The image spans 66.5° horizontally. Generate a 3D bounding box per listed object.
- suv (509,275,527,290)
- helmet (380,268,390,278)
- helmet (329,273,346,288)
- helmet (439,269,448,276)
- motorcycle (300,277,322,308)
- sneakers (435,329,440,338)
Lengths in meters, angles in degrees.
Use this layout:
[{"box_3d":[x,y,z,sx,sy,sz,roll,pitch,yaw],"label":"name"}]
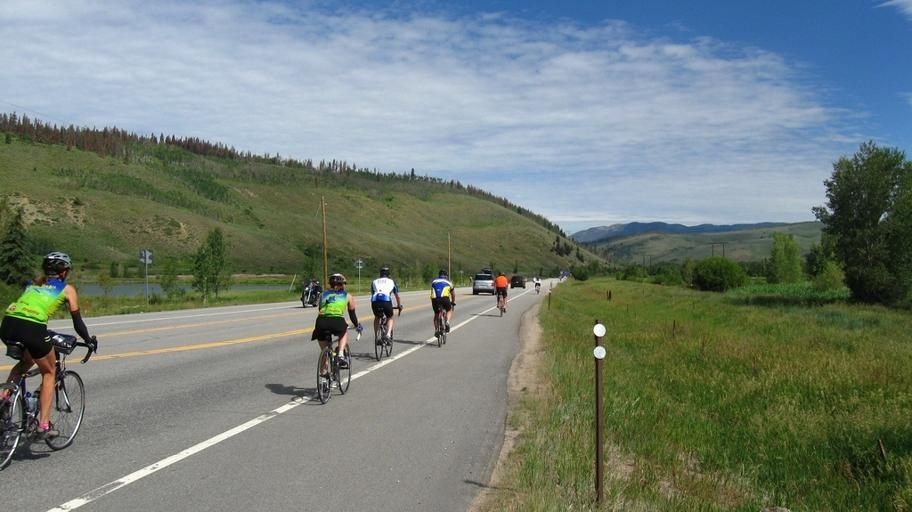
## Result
[{"box_3d":[7.482,3.231,84.173,1.238,0.999,2.109,0,4,16],"label":"suv"},{"box_3d":[-2.654,0.582,25.817,0.290,0.343,0.374,25,-23,-36],"label":"helmet"},{"box_3d":[-3.820,0.775,21.954,0.502,0.459,0.395,-10,-2,14],"label":"helmet"},{"box_3d":[-0.595,0.695,29.546,0.219,0.272,0.272,8,1,12],"label":"helmet"},{"box_3d":[-9.133,2.458,43.914,1.210,1.240,2.058,0,-5,3],"label":"motorcycle"},{"box_3d":[-0.738,3.150,27.857,0.212,0.231,0.193,-1,1,-3],"label":"sneakers"}]
